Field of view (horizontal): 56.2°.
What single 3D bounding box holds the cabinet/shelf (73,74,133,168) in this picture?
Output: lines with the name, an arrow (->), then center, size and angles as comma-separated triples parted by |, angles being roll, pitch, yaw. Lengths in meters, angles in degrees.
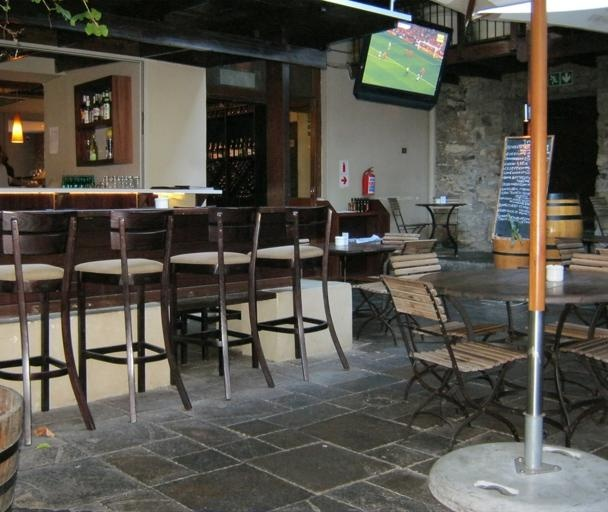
cabinet/shelf -> -2.541, -1.701, 7.229 | 0.846, 1.078, 0.362 | 5, 9, 38

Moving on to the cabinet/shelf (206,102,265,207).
cabinet/shelf -> -1.249, -1.898, 10.339 | 0.389, 1.939, 1.506 | -7, 9, -42

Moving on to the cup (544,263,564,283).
cup -> 1.441, 0.102, 3.288 | 0.146, 0.111, 0.126 | 2, 8, 19

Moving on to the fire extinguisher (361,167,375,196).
fire extinguisher -> 1.339, -1.571, 11.950 | 0.228, 0.595, 0.306 | 4, 8, 34
